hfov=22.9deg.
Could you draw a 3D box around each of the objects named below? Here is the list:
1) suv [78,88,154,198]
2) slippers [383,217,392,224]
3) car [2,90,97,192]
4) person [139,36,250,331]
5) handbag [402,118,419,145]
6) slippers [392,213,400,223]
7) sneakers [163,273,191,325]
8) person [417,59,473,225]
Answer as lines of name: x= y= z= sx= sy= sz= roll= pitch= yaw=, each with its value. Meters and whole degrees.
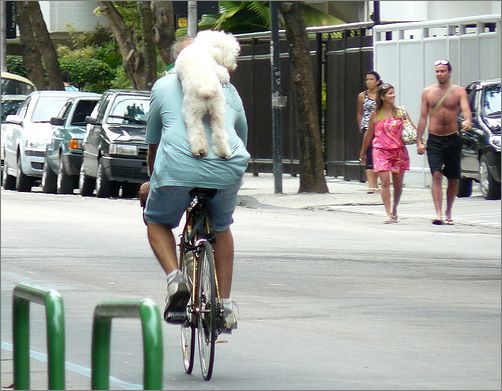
suv: x=-2.209 y=-1.061 z=22.947 sx=1.580 sy=1.756 sz=3.519 roll=3 pitch=7 yaw=-17
slippers: x=1.930 y=0.374 z=17.276 sx=0.083 sy=0.092 sz=0.241 roll=-1 pitch=-6 yaw=9
car: x=-4.189 y=-1.199 z=25.391 sx=1.533 sy=1.334 sz=2.671 roll=0 pitch=-3 yaw=-18
person: x=-0.389 y=-0.055 z=9.125 sx=0.812 sy=2.313 sz=0.755 roll=-2 pitch=4 yaw=-12
handbag: x=2.185 y=-0.858 z=16.819 sx=0.195 sy=0.347 sz=0.388 roll=-1 pitch=4 yaw=7
slippers: x=2.042 y=0.343 z=17.305 sx=0.113 sy=0.131 sz=0.323 roll=-1 pitch=-4 yaw=7
sneakers: x=-0.532 y=0.761 z=8.901 sx=0.182 sy=0.407 sz=0.283 roll=-2 pitch=4 yaw=-12
person: x=2.652 y=-0.700 z=16.793 sx=0.726 sy=2.260 sz=0.521 roll=0 pitch=4 yaw=12
